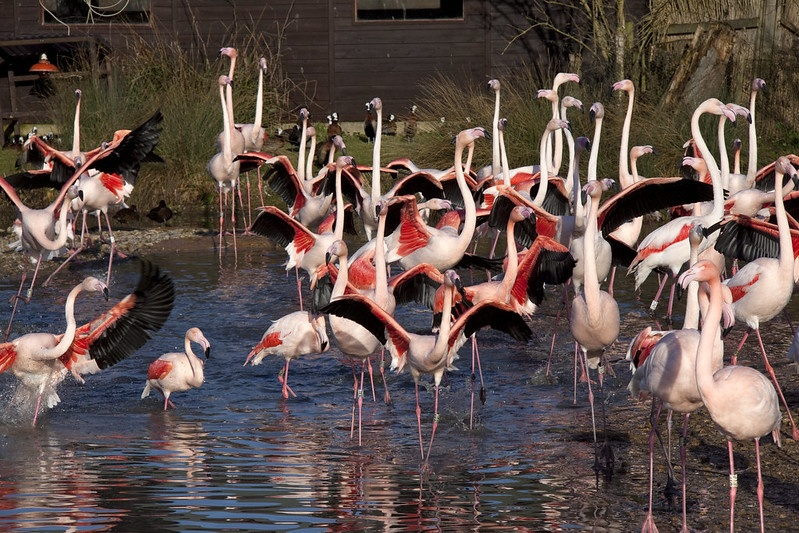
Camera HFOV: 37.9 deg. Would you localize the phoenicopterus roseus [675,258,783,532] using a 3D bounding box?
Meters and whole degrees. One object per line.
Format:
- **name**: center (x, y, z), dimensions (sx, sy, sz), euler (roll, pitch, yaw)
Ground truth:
- **phoenicopterus roseus**: center (3.303, 1.267, 11.461), dimensions (0.846, 2.714, 0.992), euler (1, 12, 24)
